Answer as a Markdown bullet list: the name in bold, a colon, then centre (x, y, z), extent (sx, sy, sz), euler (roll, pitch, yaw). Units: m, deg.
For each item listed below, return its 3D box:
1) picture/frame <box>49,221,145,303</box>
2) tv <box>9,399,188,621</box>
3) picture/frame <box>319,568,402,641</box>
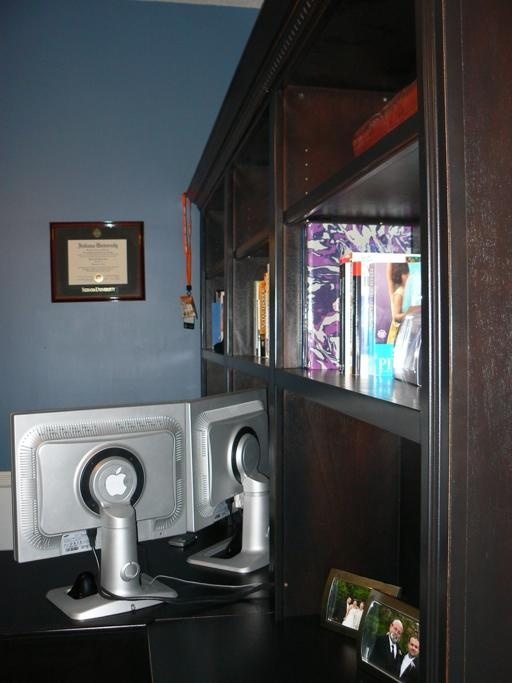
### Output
- **picture/frame**: centre (-0.921, -0.455, 3.125), extent (0.343, 0.395, 0.040), euler (-1, -1, -4)
- **tv**: centre (-0.338, 0.376, 1.305), extent (0.370, 0.481, 0.180), euler (3, -24, -34)
- **picture/frame**: centre (0.209, 0.567, 1.181), extent (0.134, 0.118, 0.011), euler (23, -18, -20)
